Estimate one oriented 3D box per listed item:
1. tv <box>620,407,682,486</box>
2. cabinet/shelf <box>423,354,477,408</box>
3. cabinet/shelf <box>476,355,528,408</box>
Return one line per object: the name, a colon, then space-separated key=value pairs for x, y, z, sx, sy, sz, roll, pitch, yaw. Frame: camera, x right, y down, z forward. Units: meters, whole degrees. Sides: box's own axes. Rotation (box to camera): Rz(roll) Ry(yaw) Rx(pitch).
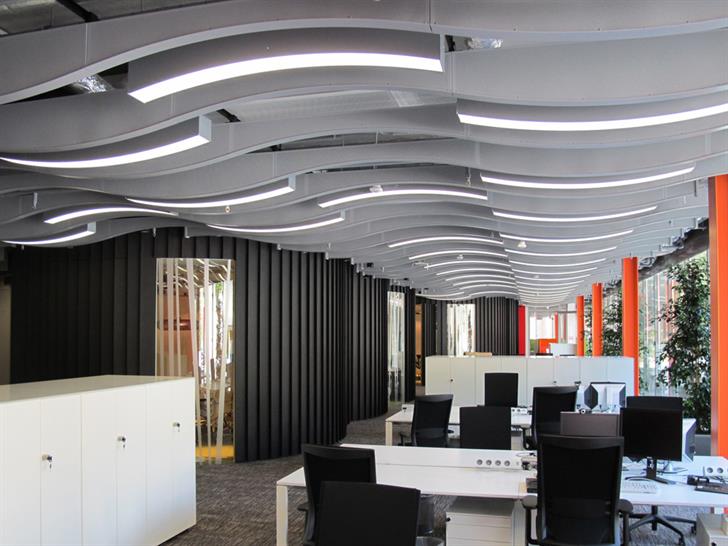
tv: x=3.153 y=1.885 z=7.208 sx=0.647 sy=0.848 sz=0.272 roll=1 pitch=-3 yaw=21
cabinet/shelf: x=2.007 y=2.348 z=15.298 sx=1.145 sy=1.187 sz=0.596 roll=-1 pitch=18 yaw=6
cabinet/shelf: x=2.760 y=2.144 z=12.980 sx=1.003 sy=1.063 sz=0.339 roll=0 pitch=-6 yaw=9
